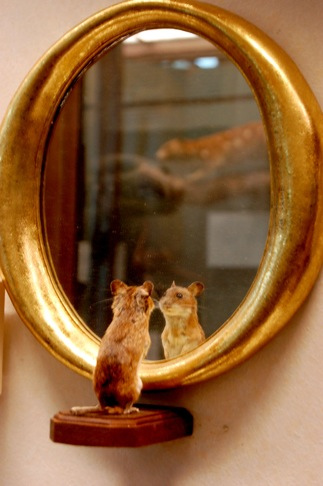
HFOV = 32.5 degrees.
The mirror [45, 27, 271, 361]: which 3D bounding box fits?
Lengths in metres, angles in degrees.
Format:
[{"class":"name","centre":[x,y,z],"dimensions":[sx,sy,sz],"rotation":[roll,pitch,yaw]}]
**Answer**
[{"class":"mirror","centre":[-0.022,-0.071,0.764],"dimensions":[0.343,0.453,0.086],"rotation":[5,6,33]}]

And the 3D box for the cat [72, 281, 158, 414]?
[{"class":"cat","centre":[-0.054,0.133,0.708],"dimensions":[0.085,0.158,0.099],"rotation":[4,5,17]}]
